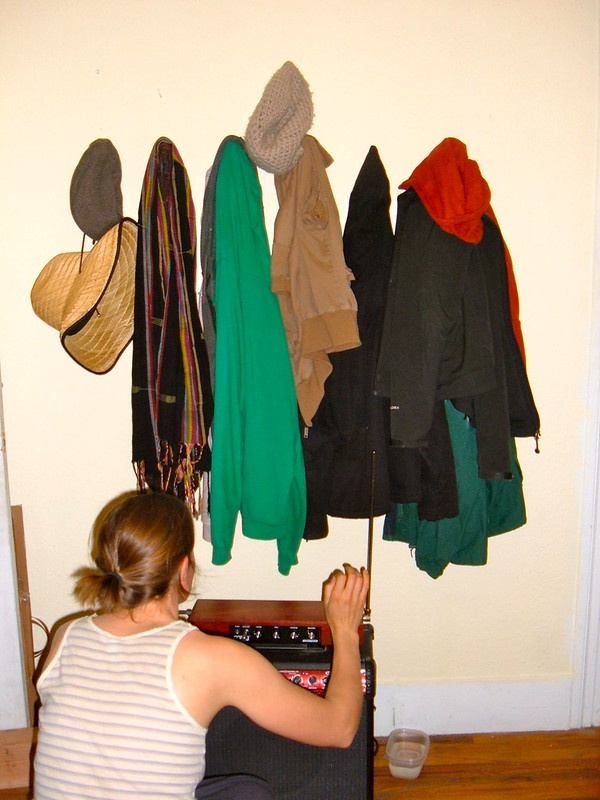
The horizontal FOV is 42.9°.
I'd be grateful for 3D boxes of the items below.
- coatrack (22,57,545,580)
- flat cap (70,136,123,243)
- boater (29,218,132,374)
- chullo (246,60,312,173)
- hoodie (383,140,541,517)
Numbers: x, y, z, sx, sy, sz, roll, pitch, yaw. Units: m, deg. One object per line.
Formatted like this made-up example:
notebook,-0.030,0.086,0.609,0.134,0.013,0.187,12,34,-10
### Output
coatrack,-0.027,-0.106,2.217,1.370,1.571,0.513,17,32,35
flat cap,-0.538,-0.550,2.024,0.149,0.260,0.064,0,7,-22
boater,-0.577,-0.284,2.084,0.206,0.393,0.252,21,22,18
chullo,-0.050,-0.668,1.852,0.150,0.249,0.091,5,11,2
hoodie,0.397,-0.173,1.877,0.412,0.946,0.272,1,5,5
